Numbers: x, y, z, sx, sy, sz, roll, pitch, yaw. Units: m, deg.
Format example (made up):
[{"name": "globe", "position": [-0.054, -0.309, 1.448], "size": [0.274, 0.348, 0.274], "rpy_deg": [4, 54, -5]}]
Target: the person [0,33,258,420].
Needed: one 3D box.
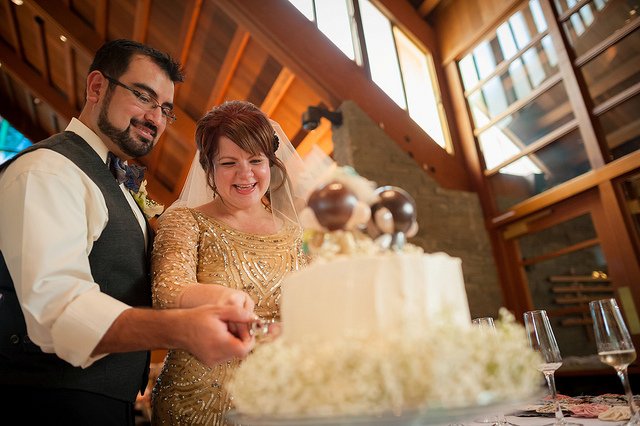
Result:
[{"name": "person", "position": [-0.808, -0.022, 1.984], "size": [0.917, 1.634, 0.667], "rpy_deg": [5, -20, -10]}]

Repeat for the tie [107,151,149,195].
[{"name": "tie", "position": [-0.905, -0.219, 2.150], "size": [0.138, 0.123, 0.278], "rpy_deg": [54, -33, -7]}]

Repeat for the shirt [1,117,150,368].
[{"name": "shirt", "position": [-1.050, 0.140, 2.032], "size": [0.656, 0.846, 1.078], "rpy_deg": [0, 4, -2]}]

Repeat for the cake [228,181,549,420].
[{"name": "cake", "position": [0.236, 0.388, 1.653], "size": [0.907, 0.597, 0.613], "rpy_deg": [-4, -20, 12]}]
